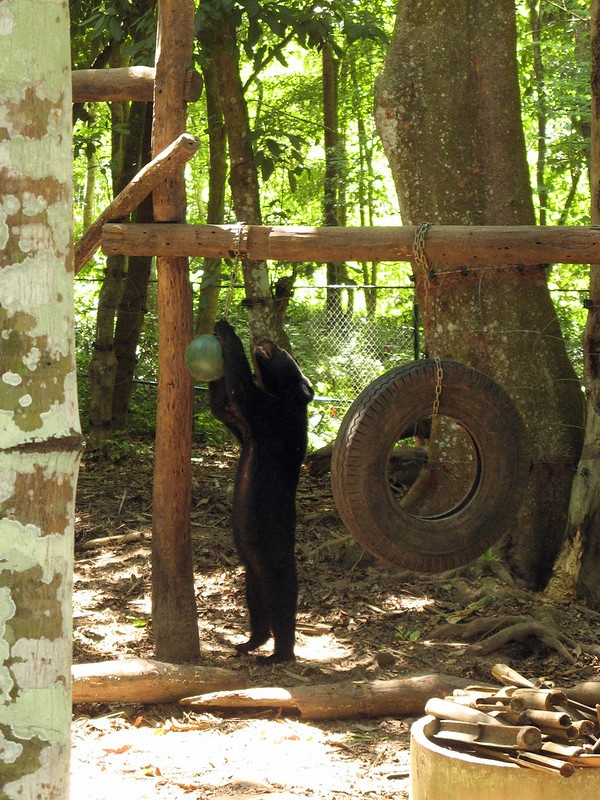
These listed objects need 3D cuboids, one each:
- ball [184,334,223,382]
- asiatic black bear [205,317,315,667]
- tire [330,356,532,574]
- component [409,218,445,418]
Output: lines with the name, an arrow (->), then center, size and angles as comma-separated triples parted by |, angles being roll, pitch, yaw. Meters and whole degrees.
ball -> -0.441, -0.192, 5.591 | 0.210, 0.218, 0.195 | -2, 1, 0
asiatic black bear -> -0.228, 0.444, 5.927 | 0.420, 1.648, 0.605 | 2, 7, 28
tire -> 0.519, 0.309, 5.207 | 0.911, 0.826, 0.229 | -20, 13, -17
component -> 0.554, -0.336, 5.456 | 0.054, 0.653, 0.067 | -7, 0, 9
